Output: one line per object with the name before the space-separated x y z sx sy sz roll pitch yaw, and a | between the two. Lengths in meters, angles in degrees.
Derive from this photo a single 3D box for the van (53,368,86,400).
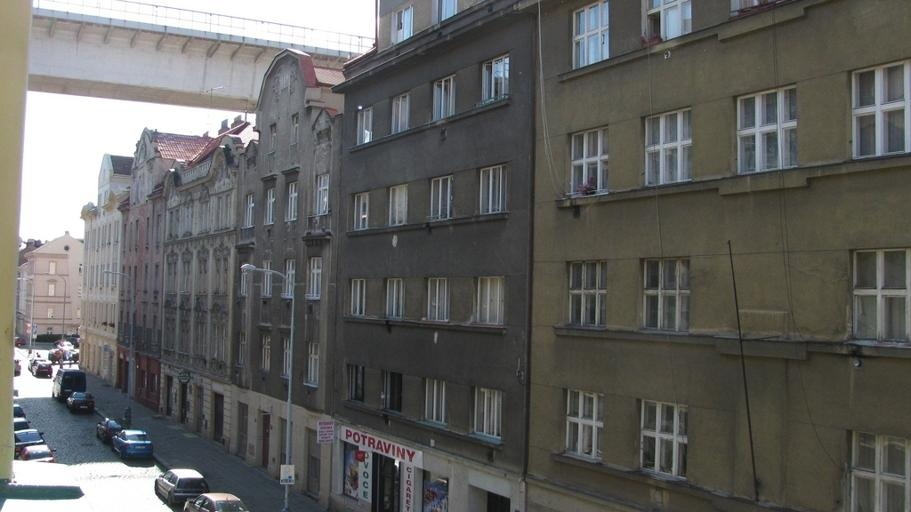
van | -34.295 11.237 88.193 2.487 2.560 4.356 5 3 -17

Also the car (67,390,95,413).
car | -31.351 12.297 81.789 1.994 1.831 1.412 -4 0 35
